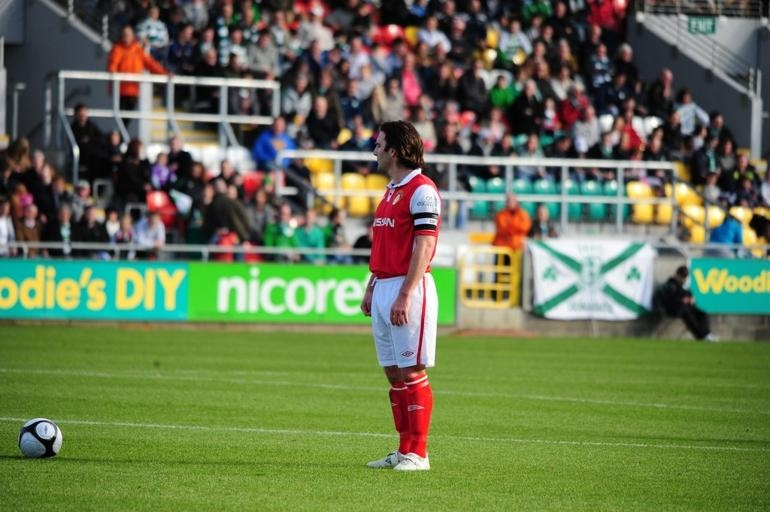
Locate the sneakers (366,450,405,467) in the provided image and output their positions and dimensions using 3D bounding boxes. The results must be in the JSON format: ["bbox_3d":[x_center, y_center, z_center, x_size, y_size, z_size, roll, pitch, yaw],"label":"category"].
[{"bbox_3d":[0.017,2.932,25.332,0.583,0.234,0.207,1,-1,9],"label":"sneakers"}]

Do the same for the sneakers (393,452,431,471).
[{"bbox_3d":[0.403,2.961,25.238,0.413,0.180,0.233,3,-7,-6],"label":"sneakers"}]

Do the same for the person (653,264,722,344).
[{"bbox_3d":[5.740,0.935,33.205,1.262,1.405,0.579,9,20,25],"label":"person"}]
